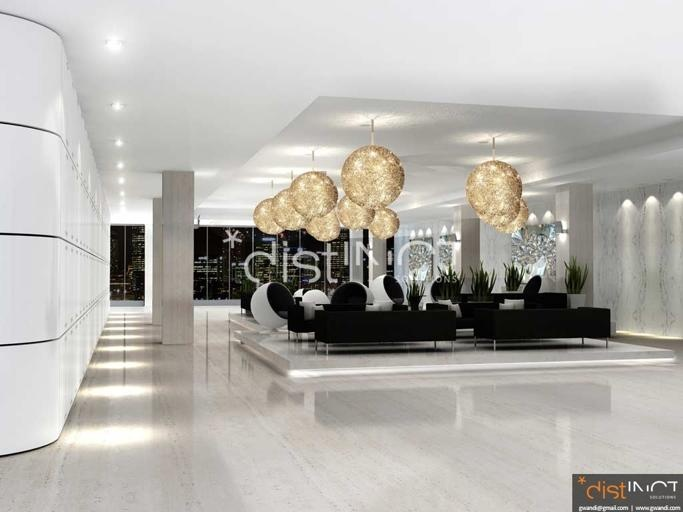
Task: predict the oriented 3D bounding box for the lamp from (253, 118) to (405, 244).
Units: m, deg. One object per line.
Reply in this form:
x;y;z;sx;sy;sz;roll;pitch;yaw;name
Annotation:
0.064;-1.054;8.525;1.744;1.401;2.417;3;-13;-20;lamp
